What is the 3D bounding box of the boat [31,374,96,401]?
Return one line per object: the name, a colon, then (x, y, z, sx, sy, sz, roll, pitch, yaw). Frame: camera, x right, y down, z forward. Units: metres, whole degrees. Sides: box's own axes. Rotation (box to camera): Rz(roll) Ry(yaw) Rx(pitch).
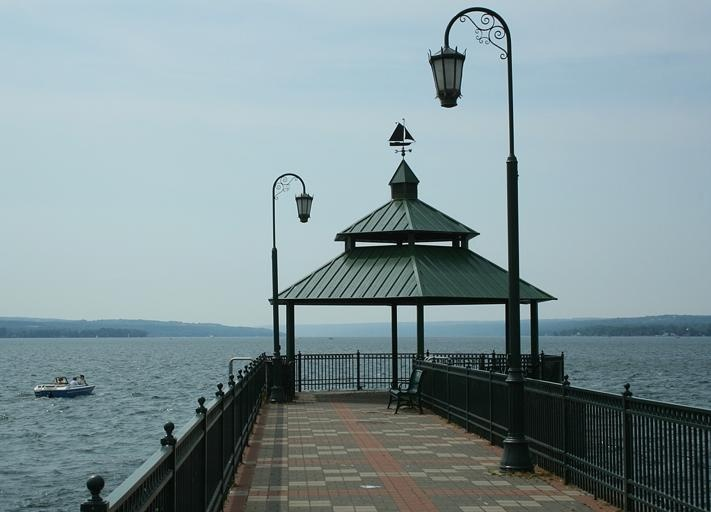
boat: (-20.079, 8.920, 67.392, 3.832, 1.349, 4.973, -4, -4, -26)
